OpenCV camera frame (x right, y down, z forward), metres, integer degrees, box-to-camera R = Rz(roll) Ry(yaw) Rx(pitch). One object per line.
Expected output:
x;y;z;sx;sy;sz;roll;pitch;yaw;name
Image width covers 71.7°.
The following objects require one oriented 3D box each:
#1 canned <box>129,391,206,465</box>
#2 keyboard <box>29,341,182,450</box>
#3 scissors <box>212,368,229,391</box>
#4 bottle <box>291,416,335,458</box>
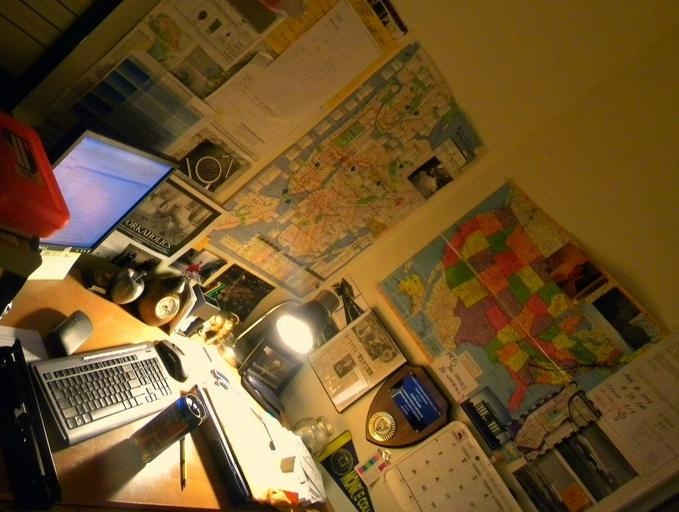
-0.594;0.591;1.592;0.110;0.279;0.110;49;10;-44;canned
-0.792;0.466;1.638;0.282;0.090;0.532;54;12;14;keyboard
-0.521;0.544;2.058;0.075;0.018;0.075;46;14;-28;scissors
-0.147;0.877;2.355;0.182;0.254;0.183;166;-90;-79;bottle
